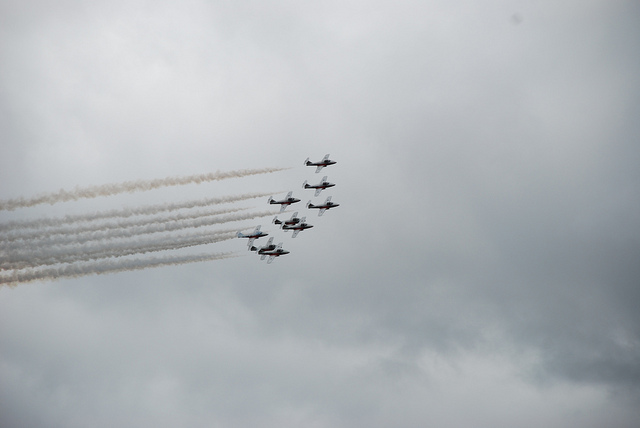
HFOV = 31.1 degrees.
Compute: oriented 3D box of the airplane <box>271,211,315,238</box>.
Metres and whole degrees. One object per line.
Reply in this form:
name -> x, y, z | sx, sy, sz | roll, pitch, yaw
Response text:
airplane -> -2.483, 0.739, 93.437 | 3.082, 3.091, 0.959 | 3, -62, 5
